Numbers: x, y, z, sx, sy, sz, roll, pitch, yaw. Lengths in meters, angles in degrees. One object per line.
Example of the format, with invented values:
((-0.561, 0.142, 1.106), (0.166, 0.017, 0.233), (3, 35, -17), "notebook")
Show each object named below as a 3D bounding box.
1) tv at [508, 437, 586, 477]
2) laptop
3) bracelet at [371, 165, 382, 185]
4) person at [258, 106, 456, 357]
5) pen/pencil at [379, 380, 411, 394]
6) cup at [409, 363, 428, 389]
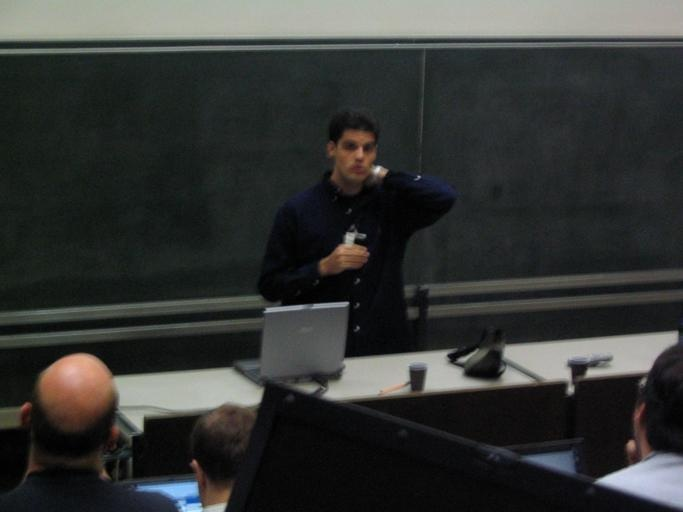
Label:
((0.555, 0.534, 1.671), (0.229, 0.087, 0.063), (0, -5, -21), "tv")
((-0.193, 0.312, 2.433), (0.376, 0.311, 0.311), (-3, 19, -22), "laptop")
((0.176, -0.366, 2.914), (0.064, 0.064, 0.069), (3, 13, 18), "bracelet")
((0.080, -0.091, 2.881), (0.832, 1.088, 0.404), (1, -5, -26), "person")
((0.202, 0.492, 2.366), (0.025, 0.026, 0.233), (-8, 0, 34), "pen/pencil")
((0.274, 0.438, 2.323), (0.088, 0.101, 0.082), (0, 3, 0), "cup")
